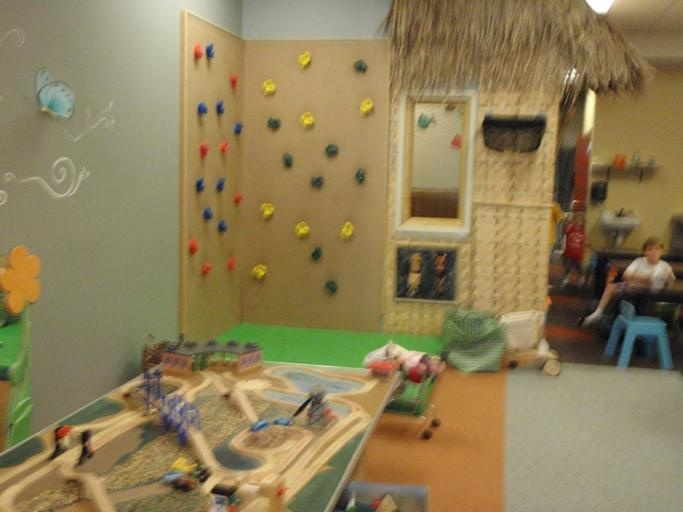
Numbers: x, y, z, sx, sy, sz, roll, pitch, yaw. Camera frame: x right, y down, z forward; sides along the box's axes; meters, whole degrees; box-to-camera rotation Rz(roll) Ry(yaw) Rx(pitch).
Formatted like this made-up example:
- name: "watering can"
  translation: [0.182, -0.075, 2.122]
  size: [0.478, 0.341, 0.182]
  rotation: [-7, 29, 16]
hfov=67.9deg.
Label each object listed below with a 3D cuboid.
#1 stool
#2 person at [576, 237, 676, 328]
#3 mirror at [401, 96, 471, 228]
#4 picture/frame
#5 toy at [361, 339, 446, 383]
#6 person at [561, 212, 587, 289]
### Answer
- name: "stool"
  translation: [2.825, 0.728, 4.793]
  size: [0.472, 0.417, 0.492]
  rotation: [4, 7, 34]
- name: "person"
  translation: [2.759, 0.286, 4.847]
  size: [0.699, 0.953, 0.217]
  rotation: [10, 15, 34]
- name: "mirror"
  translation: [1.375, -1.379, 7.409]
  size: [0.847, 2.149, 0.174]
  rotation: [3, -19, 6]
- name: "picture/frame"
  translation: [0.909, 0.192, 5.411]
  size: [0.688, 0.663, 0.082]
  rotation: [2, 11, 10]
- name: "toy"
  translation: [0.368, 0.695, 3.303]
  size: [0.333, 0.155, 0.410]
  rotation: [3, 1, 36]
- name: "person"
  translation: [2.296, -0.055, 4.978]
  size: [0.242, 0.833, 0.247]
  rotation: [-1, 29, 14]
